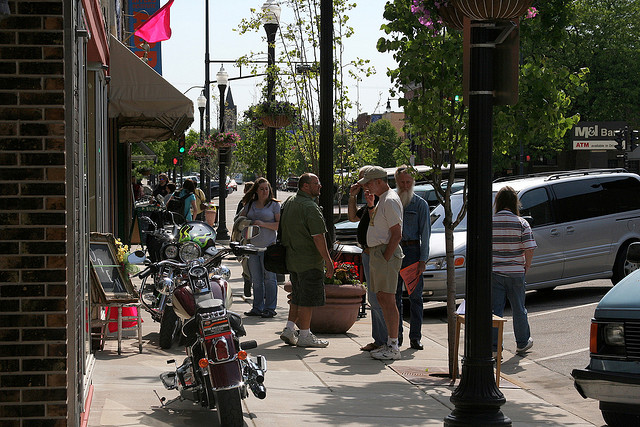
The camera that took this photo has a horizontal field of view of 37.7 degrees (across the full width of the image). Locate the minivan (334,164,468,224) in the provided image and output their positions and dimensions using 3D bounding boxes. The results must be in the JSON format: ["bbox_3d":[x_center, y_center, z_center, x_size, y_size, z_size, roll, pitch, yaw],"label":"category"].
[{"bbox_3d":[2.120,-0.538,26.948,5.226,1.531,1.526,-3,1,0],"label":"minivan"}]

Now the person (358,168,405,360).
[{"bbox_3d":[0.873,0.680,12.642,0.562,2.532,0.621,-3,0,2],"label":"person"}]

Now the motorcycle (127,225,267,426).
[{"bbox_3d":[-1.234,1.388,10.454,1.291,1.415,2.215,-17,-3,-11],"label":"motorcycle"}]

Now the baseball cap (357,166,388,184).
[{"bbox_3d":[0.750,-0.515,12.752,0.331,0.178,0.212,-1,2,-5],"label":"baseball cap"}]

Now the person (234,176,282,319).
[{"bbox_3d":[-0.967,0.541,15.070,0.817,2.256,0.750,1,1,23],"label":"person"}]

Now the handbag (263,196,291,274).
[{"bbox_3d":[-0.629,0.356,13.133,0.344,0.942,0.341,1,-1,43],"label":"handbag"}]

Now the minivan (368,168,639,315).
[{"bbox_3d":[3.703,0.439,17.089,5.249,1.971,2.365,-3,-2,-29],"label":"minivan"}]

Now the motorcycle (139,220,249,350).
[{"bbox_3d":[-1.456,0.758,10.669,1.134,1.139,2.077,14,3,0],"label":"motorcycle"}]

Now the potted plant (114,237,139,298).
[{"bbox_3d":[-2.694,0.773,12.909,0.393,0.922,0.940,3,-10,-10],"label":"potted plant"}]

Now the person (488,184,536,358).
[{"bbox_3d":[2.698,0.831,13.439,0.801,2.361,0.663,-2,5,-3],"label":"person"}]

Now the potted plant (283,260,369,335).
[{"bbox_3d":[0.081,1.325,14.248,1.341,0.899,1.332,-4,9,-32],"label":"potted plant"}]

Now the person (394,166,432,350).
[{"bbox_3d":[1.408,0.648,13.417,0.708,2.456,0.764,0,1,-19],"label":"person"}]

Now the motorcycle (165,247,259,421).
[{"bbox_3d":[-1.176,1.303,9.867,0.909,1.712,1.151,-3,-1,-7],"label":"motorcycle"}]
